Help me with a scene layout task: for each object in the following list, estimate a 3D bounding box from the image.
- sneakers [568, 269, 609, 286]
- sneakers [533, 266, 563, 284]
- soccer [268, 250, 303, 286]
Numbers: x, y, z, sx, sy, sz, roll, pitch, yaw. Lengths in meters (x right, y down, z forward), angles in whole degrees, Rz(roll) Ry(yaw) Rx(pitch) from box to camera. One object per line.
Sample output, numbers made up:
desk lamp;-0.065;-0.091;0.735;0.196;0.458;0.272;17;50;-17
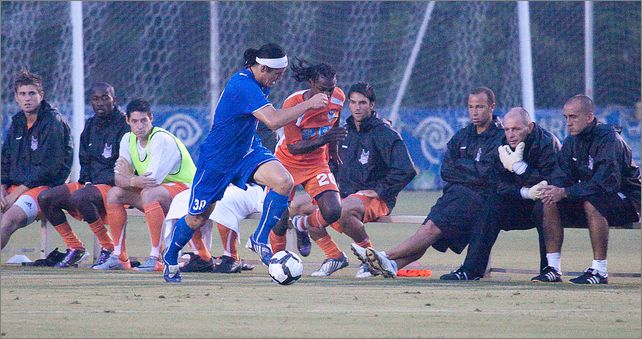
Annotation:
sneakers;4.978;2.037;23.013;0.760;0.247;0.268;2;-5;-4
sneakers;4.267;2.012;23.259;0.688;0.242;0.226;2;-8;-2
soccer;-0.689;1.824;22.680;0.614;0.627;0.206;1;-3;-4
